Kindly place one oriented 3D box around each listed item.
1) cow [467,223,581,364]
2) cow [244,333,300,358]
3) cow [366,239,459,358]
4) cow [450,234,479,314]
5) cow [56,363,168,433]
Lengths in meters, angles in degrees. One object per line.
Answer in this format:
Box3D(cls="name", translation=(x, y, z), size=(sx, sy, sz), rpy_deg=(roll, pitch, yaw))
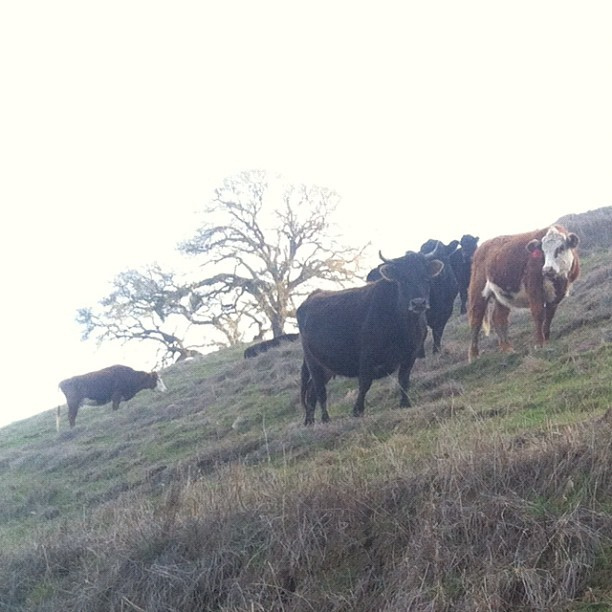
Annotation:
Box3D(cls="cow", translation=(4.257, -0.263, 12.411), size=(0.911, 2.639, 3.266), rpy_deg=(-6, 2, -18))
Box3D(cls="cow", translation=(-1.559, 1.658, 26.531), size=(2.253, 0.461, 1.171), rpy_deg=(-17, -1, -10))
Box3D(cls="cow", translation=(3.001, -0.488, 17.917), size=(1.307, 3.260, 3.868), rpy_deg=(-10, 8, 1))
Box3D(cls="cow", translation=(4.189, -0.935, 16.433), size=(0.347, 2.244, 0.978), rpy_deg=(1, -6, 2))
Box3D(cls="cow", translation=(-8.619, 3.643, 27.669), size=(4.046, 2.525, 2.072), rpy_deg=(-14, 1, -36))
